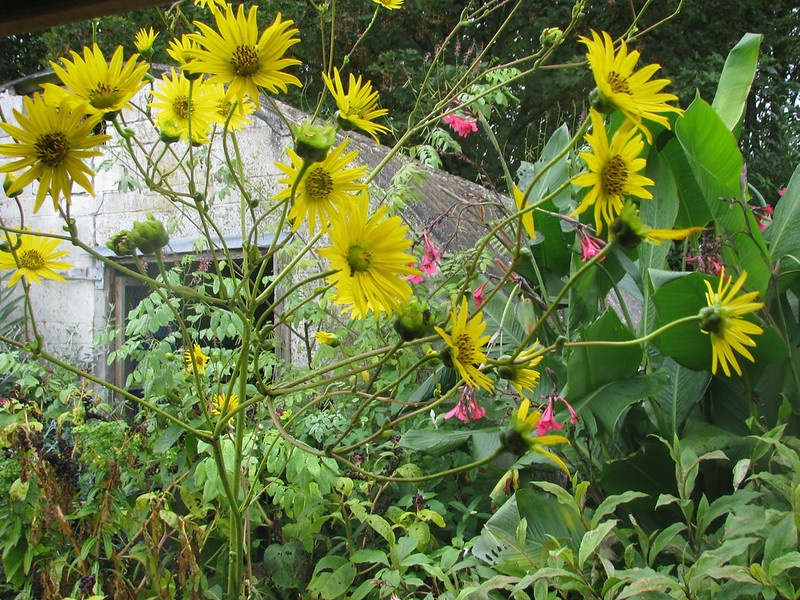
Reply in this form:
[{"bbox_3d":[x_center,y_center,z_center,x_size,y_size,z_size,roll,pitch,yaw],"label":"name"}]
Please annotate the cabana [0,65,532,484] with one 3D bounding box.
[{"bbox_3d":[-0.460,-0.046,2.488,0.898,1.706,0.826,-26,-34,-57],"label":"cabana"}]
